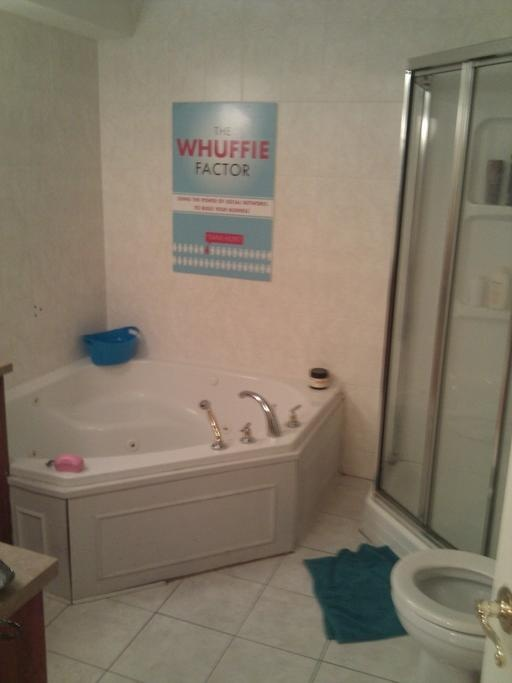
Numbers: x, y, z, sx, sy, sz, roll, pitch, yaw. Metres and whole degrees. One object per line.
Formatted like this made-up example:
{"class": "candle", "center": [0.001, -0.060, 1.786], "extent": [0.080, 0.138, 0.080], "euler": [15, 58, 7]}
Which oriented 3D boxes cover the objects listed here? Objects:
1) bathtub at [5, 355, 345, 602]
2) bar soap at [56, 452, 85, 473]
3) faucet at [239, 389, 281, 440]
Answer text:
{"class": "bathtub", "center": [-0.429, 0.568, 2.284], "extent": [0.957, 0.401, 1.089], "euler": [6, 17, 16]}
{"class": "bar soap", "center": [-0.681, 0.431, 2.016], "extent": [0.074, 0.045, 0.063], "euler": [8, 5, 3]}
{"class": "faucet", "center": [0.015, 0.354, 2.654], "extent": [0.056, 0.176, 0.319], "euler": [-8, 32, -18]}
